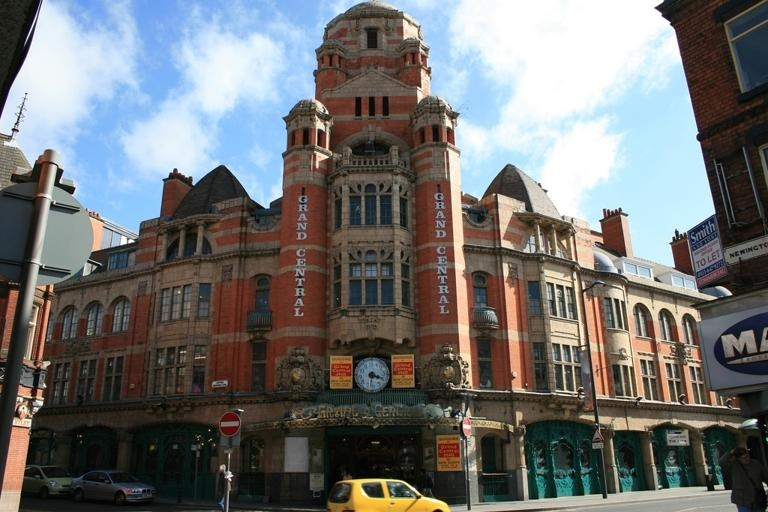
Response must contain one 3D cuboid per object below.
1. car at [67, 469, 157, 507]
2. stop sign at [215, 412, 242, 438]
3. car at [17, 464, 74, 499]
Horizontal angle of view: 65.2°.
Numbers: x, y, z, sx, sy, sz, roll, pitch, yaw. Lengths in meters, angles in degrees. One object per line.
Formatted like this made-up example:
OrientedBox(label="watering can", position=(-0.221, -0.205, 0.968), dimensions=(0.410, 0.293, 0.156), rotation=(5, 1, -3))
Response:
OrientedBox(label="car", position=(-16.795, 14.203, 37.066), dimensions=(5.157, 2.059, 1.488), rotation=(-13, -29, 24))
OrientedBox(label="stop sign", position=(-5.544, 5.994, 21.585), dimensions=(0.635, 0.948, 1.265), rotation=(4, -26, -10))
OrientedBox(label="car", position=(-21.895, 14.538, 39.014), dimensions=(3.631, 2.050, 1.184), rotation=(-10, -28, 18))
